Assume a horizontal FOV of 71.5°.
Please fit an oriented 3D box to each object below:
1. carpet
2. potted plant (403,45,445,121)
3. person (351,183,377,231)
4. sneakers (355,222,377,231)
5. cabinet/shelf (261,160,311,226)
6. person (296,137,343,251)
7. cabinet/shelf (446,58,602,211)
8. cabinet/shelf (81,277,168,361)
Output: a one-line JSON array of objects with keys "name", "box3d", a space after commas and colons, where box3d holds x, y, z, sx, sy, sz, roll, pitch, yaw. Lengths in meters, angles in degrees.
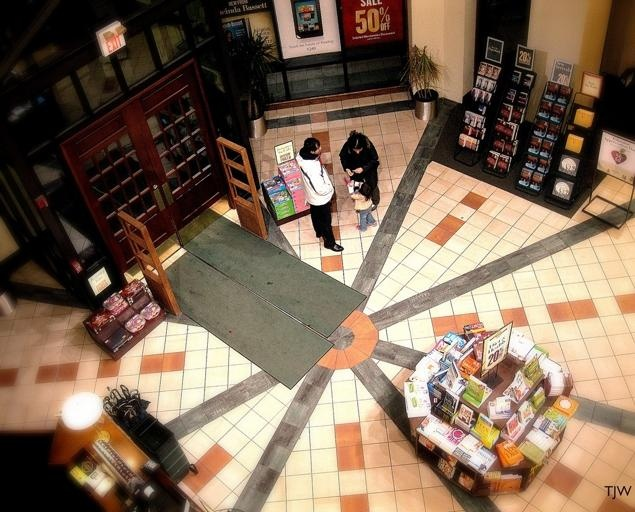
[{"name": "carpet", "box3d": [-0.895, 0.732, 7.517, 3.275, 0.030, 2.091, 33, 59, 21]}, {"name": "potted plant", "box3d": [2.256, -3.745, 9.555, 0.795, 1.545, 0.743, -23, 36, -25]}, {"name": "person", "box3d": [0.772, -0.897, 7.858, 0.381, 1.020, 0.360, -33, 46, -32]}, {"name": "sneakers", "box3d": [0.906, -0.525, 8.162, 0.362, 0.164, 0.148, -8, 65, -2]}, {"name": "cabinet/shelf", "box3d": [-0.566, -1.122, 8.251, 0.611, 0.928, 0.701, -28, 66, -4]}, {"name": "person", "box3d": [0.028, -1.014, 8.000, 0.563, 2.200, 0.890, -27, 56, -9]}, {"name": "cabinet/shelf", "box3d": [3.874, -2.129, 8.058, 2.422, 1.629, 1.379, 35, 67, 21]}, {"name": "cabinet/shelf", "box3d": [-3.117, 1.062, 7.285, 0.919, 0.397, 1.308, 46, 69, 1]}]
